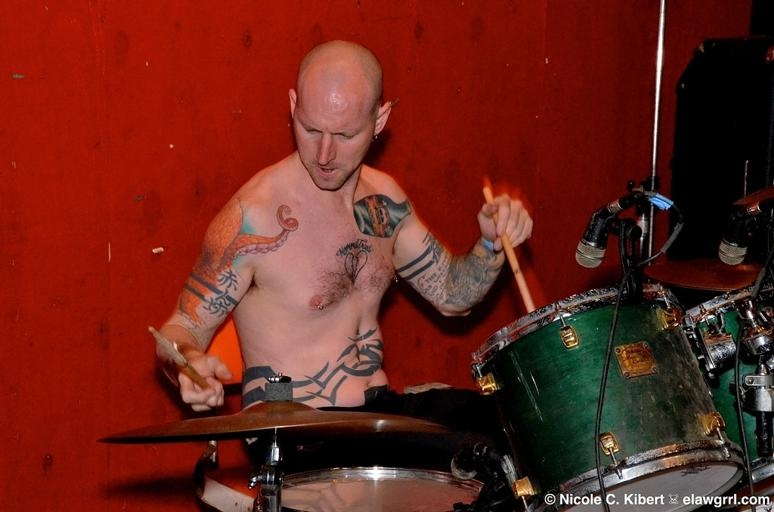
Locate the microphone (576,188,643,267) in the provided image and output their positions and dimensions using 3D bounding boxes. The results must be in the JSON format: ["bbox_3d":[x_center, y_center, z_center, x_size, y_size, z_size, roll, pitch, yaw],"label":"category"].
[{"bbox_3d":[0.755,-0.091,2.634,0.116,0.264,0.261,-11,-2,-42],"label":"microphone"}]

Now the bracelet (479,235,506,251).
[{"bbox_3d":[0.422,-0.051,3.217,0.062,0.051,0.064,0,-6,-5],"label":"bracelet"}]
